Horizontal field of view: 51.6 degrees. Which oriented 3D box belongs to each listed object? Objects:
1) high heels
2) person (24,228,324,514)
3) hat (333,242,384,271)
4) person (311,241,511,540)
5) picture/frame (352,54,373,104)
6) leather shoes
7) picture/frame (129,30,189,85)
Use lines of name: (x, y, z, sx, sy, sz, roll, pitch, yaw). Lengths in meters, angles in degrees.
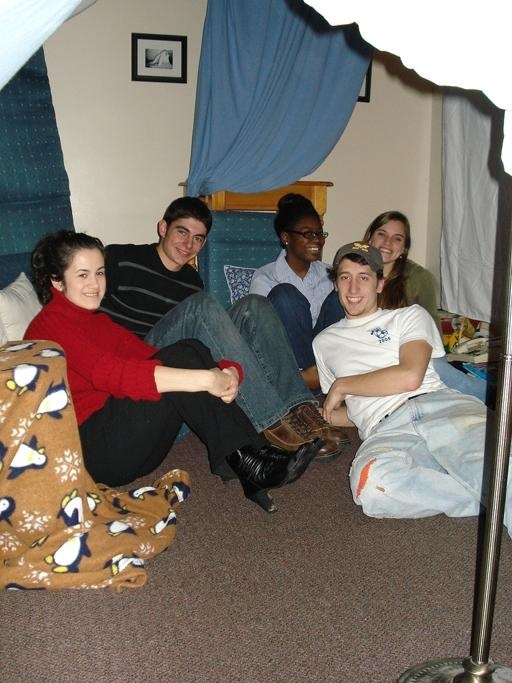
high heels: (-0.005, 0.429, 1.677, 0.377, 0.165, 0.133, -26, 8, 47)
person: (-0.026, -0.015, 1.857, 1.197, 1.162, 0.555, 0, 23, -2)
hat: (0.381, -0.315, 1.960, 0.112, 0.075, 0.150, 9, -8, 13)
person: (0.488, 0.094, 1.697, 0.436, 0.845, 0.827, -1, 7, -8)
picture/frame: (0.832, -2.000, 4.078, 0.123, 0.306, 0.082, -1, 8, -9)
leather shoes: (0.175, 0.341, 1.877, 0.278, 0.100, 0.197, 28, 40, -25)
picture/frame: (-0.689, -1.973, 3.657, 0.421, 0.323, 0.032, -1, 6, -15)
